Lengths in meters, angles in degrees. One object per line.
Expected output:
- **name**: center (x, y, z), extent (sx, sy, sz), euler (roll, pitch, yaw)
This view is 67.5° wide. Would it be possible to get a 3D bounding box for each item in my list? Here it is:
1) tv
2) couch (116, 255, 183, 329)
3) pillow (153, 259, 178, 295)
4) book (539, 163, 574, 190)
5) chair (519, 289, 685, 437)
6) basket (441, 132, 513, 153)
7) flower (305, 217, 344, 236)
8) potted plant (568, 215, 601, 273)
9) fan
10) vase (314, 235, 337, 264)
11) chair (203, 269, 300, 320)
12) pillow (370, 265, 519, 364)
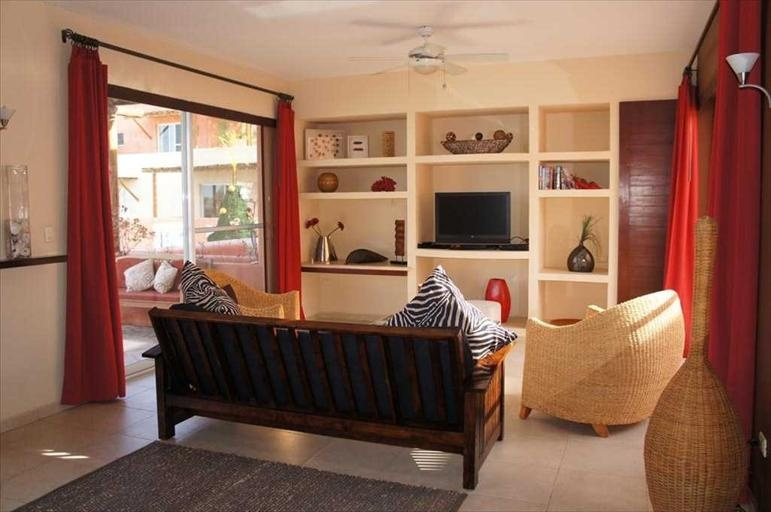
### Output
- **tv**: center (1.099, -0.432, 7.052), extent (0.797, 0.519, 0.076), euler (1, 5, 13)
- **couch**: center (-2.287, 0.317, 5.968), extent (1.033, 0.770, 0.564), euler (0, 1, -17)
- **pillow**: center (-2.279, 0.215, 5.972), extent (0.283, 0.279, 0.127), euler (-36, -42, 29)
- **book**: center (1.970, -0.911, 6.664), extent (0.418, 0.271, 0.306), euler (1, 14, 7)
- **chair**: center (1.758, 0.723, 4.822), extent (1.264, 1.131, 1.148), euler (-1, 3, -41)
- **basket**: center (1.090, -1.338, 6.902), extent (0.479, 0.160, 0.431), euler (0, 1, 6)
- **flower**: center (-0.883, -0.413, 7.879), extent (0.335, 0.176, 0.322), euler (0, -2, 7)
- **potted plant**: center (2.342, -0.143, 6.816), extent (0.326, 0.630, 0.652), euler (5, 15, 20)
- **fan**: center (0.567, -1.808, 5.226), extent (0.825, 0.297, 0.876), euler (-7, 11, -27)
- **vase**: center (-0.817, -0.082, 7.765), extent (0.371, 0.306, 0.308), euler (0, 1, 37)
- **chair**: center (-1.281, 0.437, 5.562), extent (0.806, 0.542, 0.595), euler (-1, 4, 8)
- **pillow**: center (0.436, 0.431, 3.872), extent (0.902, 0.641, 0.443), euler (1, 14, 5)
